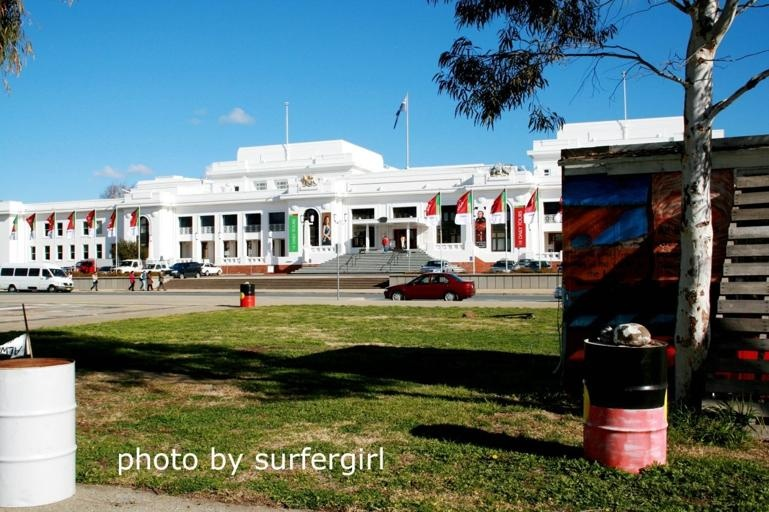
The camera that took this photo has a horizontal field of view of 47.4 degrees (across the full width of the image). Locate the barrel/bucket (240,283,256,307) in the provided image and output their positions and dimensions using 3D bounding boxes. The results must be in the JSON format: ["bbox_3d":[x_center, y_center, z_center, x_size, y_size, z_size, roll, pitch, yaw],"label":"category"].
[{"bbox_3d":[-5.174,1.456,32.980,0.483,0.764,0.851,-3,9,-14],"label":"barrel/bucket"}]

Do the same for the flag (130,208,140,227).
[{"bbox_3d":[-20.591,-3.141,71.826,0.598,1.458,4.611,-3,9,-14],"label":"flag"}]

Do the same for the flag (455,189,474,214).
[{"bbox_3d":[5.816,-3.931,62.777,0.180,2.452,2.509,7,6,43],"label":"flag"}]

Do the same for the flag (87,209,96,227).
[{"bbox_3d":[-22.535,-2.849,67.029,0.446,1.483,7.185,-3,9,-19],"label":"flag"}]

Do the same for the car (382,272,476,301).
[{"bbox_3d":[2.039,1.370,37.263,3.158,1.015,1.438,1,-2,15],"label":"car"}]

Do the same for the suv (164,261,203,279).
[{"bbox_3d":[-15.265,1.011,66.725,1.998,0.990,1.211,5,-6,-37],"label":"suv"}]

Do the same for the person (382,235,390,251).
[{"bbox_3d":[0.153,-1.027,70.541,0.570,1.017,1.593,-1,9,-2],"label":"person"}]
